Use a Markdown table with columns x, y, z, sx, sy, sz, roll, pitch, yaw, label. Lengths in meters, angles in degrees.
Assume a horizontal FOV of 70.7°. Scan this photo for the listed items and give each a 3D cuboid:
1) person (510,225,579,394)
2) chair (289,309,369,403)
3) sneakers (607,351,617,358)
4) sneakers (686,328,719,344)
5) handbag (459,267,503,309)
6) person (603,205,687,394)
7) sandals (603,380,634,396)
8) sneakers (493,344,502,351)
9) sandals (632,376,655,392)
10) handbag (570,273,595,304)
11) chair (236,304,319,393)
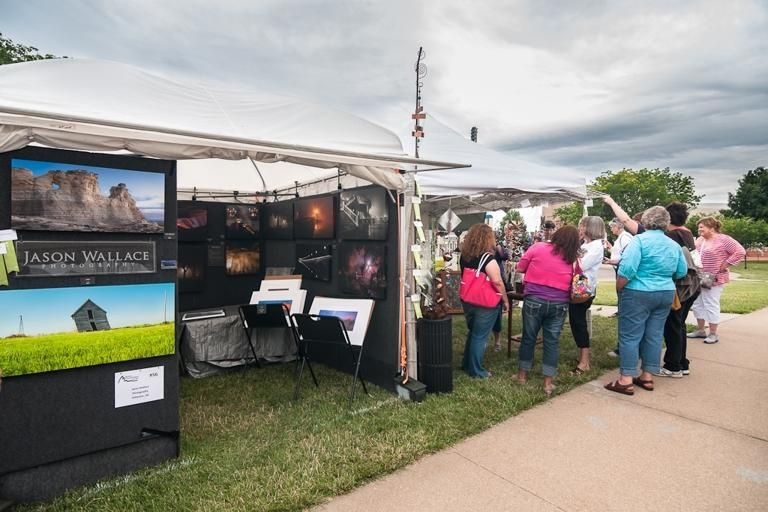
| x | y | z | sx | sy | sz | roll | pitch | yaw | label |
| --- | --- | --- | --- | --- | --- | --- | --- | --- | --- |
| 2.109 | 0.672 | 7.081 | 0.826 | 2.150 | 0.489 | -1 | 6 | 18 | person |
| -0.703 | 1.332 | 7.317 | 1.005 | 1.128 | 1.005 | 1 | 2 | 42 | chair |
| 3.516 | 1.503 | 8.300 | 0.067 | 0.131 | 0.190 | 2 | 0 | -8 | sneakers |
| 5.204 | 1.319 | 8.898 | 0.475 | 0.181 | 0.184 | 4 | 0 | 6 | sneakers |
| 1.310 | 0.418 | 7.288 | 0.534 | 0.544 | 0.217 | 6 | 6 | 25 | handbag |
| 3.322 | 0.561 | 6.934 | 0.901 | 2.394 | 0.364 | -3 | 5 | -9 | person |
| 3.045 | 1.704 | 7.056 | 0.379 | 0.148 | 0.153 | 4 | 2 | 41 | sandals |
| 1.834 | 1.479 | 8.767 | 0.079 | 0.097 | 0.233 | -2 | -9 | 9 | sneakers |
| 3.406 | 1.656 | 7.108 | 0.142 | 0.137 | 0.354 | 1 | 2 | 5 | sandals |
| 2.603 | 0.422 | 7.146 | 0.464 | 0.459 | 0.229 | -3 | 1 | -8 | handbag |
| -1.572 | 1.340 | 7.858 | 1.013 | 1.360 | 0.679 | -3 | 11 | 19 | chair |
